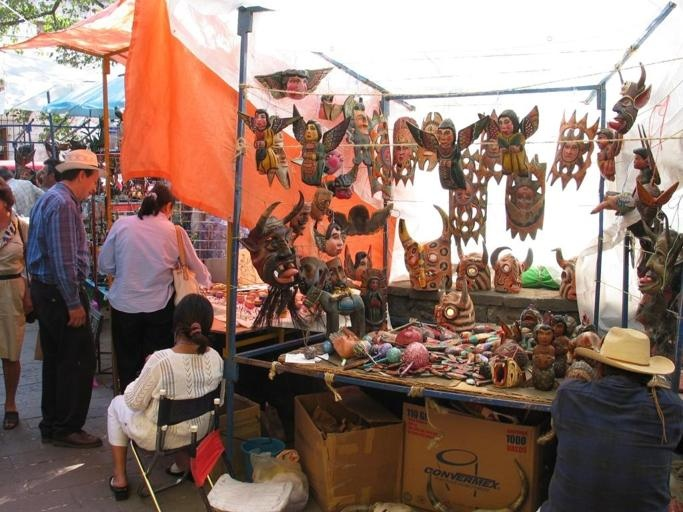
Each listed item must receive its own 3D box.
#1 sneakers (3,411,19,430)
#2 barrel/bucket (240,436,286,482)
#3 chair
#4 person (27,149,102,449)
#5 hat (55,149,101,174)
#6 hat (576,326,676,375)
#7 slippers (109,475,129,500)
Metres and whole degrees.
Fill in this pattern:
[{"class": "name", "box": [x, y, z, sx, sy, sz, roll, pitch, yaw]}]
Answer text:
[{"class": "sneakers", "box": [-2.812, 1.404, 5.381, 0.115, 0.104, 0.332, 3, -5, -26]}, {"class": "barrel/bucket", "box": [-0.591, 1.557, 4.837, 0.327, 0.258, 0.509, 1, 0, -15]}, {"class": "chair", "box": [-1.131, 1.320, 4.391, 0.621, 0.911, 1.192, 1, 0, -18]}, {"class": "person", "box": [-2.229, 0.335, 5.108, 0.589, 2.414, 0.423, 1, 1, -12]}, {"class": "hat", "box": [-2.124, -0.773, 5.206, 0.228, 0.117, 0.283, 0, 2, -4]}, {"class": "hat", "box": [1.548, 0.441, 3.381, 0.351, 0.147, 0.307, 1, -2, 39]}, {"class": "slippers", "box": [-1.595, 1.660, 4.547, 0.076, 0.069, 0.213, 0, 9, -17]}]
